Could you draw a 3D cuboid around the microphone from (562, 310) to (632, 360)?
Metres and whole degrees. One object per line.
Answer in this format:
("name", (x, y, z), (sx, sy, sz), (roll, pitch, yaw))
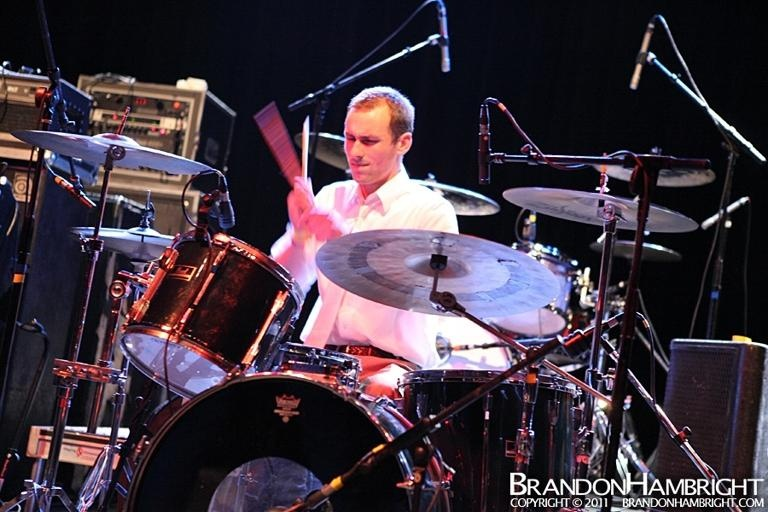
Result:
("microphone", (1.063, 0.413, 3.831), (0.367, 0.117, 0.090), (-12, -2, -14))

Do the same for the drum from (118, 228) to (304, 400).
("drum", (-0.578, 0.303, 3.847), (0.802, 0.548, 0.811), (19, -2, 1))

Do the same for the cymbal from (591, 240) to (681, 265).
("cymbal", (2.068, -0.037, 5.965), (0.440, 0.059, 0.447), (18, -6, -17))

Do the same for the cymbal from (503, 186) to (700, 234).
("cymbal", (1.384, -0.218, 4.593), (1.000, 0.159, 1.021), (0, 15, -13))

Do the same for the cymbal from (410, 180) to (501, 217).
("cymbal", (0.589, -0.417, 5.562), (0.396, 0.092, 0.405), (12, -19, 30))

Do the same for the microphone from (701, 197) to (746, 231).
("microphone", (2.480, -0.306, 5.505), (0.405, 0.079, 0.095), (-39, -41, 9))

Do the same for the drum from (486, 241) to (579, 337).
("drum", (1.305, 0.249, 6.174), (0.788, 0.707, 0.806), (6, -27, 23))

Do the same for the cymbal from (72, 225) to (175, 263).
("cymbal", (-1.541, -0.085, 4.641), (0.428, 0.155, 0.424), (10, 2, -2))
